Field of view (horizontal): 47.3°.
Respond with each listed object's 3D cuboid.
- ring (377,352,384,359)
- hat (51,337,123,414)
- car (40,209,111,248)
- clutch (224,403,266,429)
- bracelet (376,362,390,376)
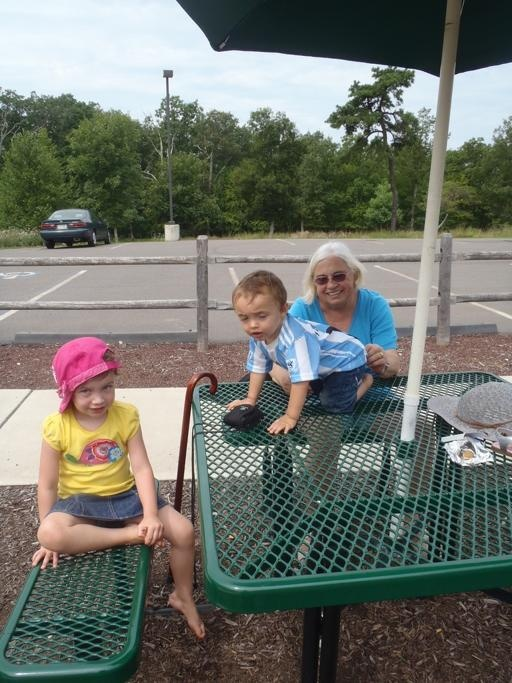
[{"bbox_3d":[0.482,0.051,2.267,0.006,0.021,0.022,5,7,-8],"label":"ring"},{"bbox_3d":[-0.537,0.101,1.806,0.179,0.207,0.192,11,19,39],"label":"hat"},{"bbox_3d":[-6.485,-4.056,21.366,1.480,0.997,3.195,-1,18,0],"label":"car"},{"bbox_3d":[-0.048,0.212,1.768,0.085,0.030,0.077,15,35,40],"label":"clutch"},{"bbox_3d":[0.502,0.107,2.308,0.040,0.024,0.051,-6,0,3],"label":"bracelet"}]
